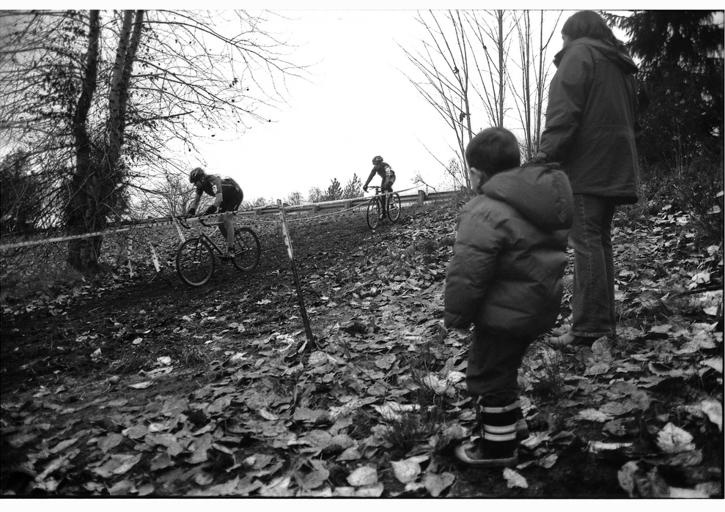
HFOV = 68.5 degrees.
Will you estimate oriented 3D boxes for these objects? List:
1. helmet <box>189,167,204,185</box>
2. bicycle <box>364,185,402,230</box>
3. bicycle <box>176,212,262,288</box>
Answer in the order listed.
[{"bbox_3d":[-2.927,-1.390,9.262,0.297,0.257,0.222,-2,13,29],"label":"helmet"},{"bbox_3d":[0.471,-1.208,12.541,0.407,0.912,1.419,-2,13,30],"label":"bicycle"},{"bbox_3d":[-2.507,-0.054,9.289,0.502,0.880,1.618,0,14,37],"label":"bicycle"}]
